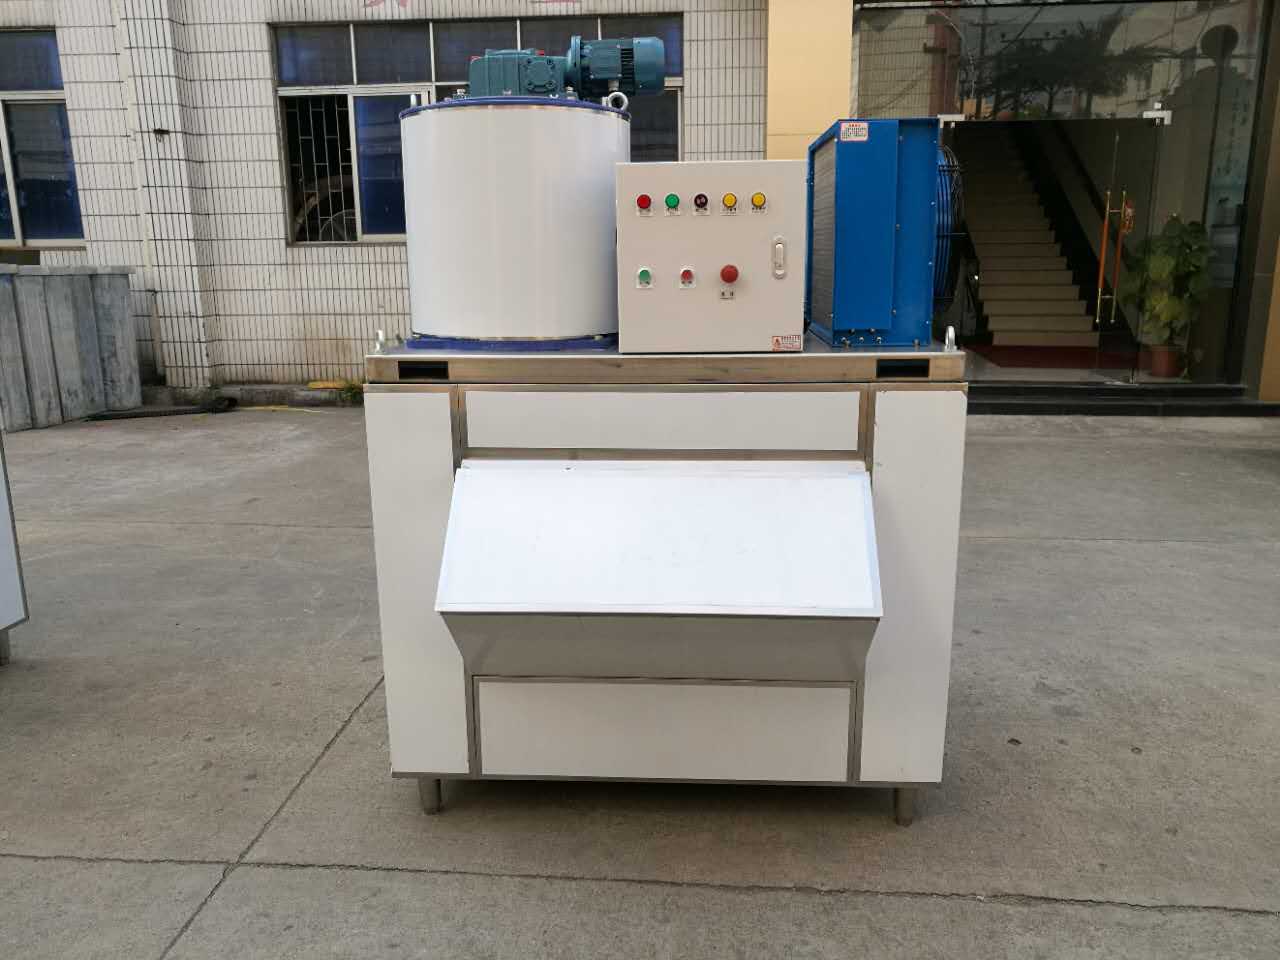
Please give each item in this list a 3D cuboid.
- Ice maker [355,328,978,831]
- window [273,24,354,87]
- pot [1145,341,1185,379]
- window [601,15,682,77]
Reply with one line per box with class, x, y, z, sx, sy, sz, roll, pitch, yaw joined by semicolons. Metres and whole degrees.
Ice maker;0.062;0.178;3.595;1.777;1.730;1.351;-1;10;0
window;-2.826;-3.710;8.825;0.472;0.707;0.073;5;31;-11
pot;4.587;-1.058;8.956;0.275;0.313;0.284;-1;2;0
window;0.069;-3.664;8.614;0.681;0.490;0.379;-9;22;-17
